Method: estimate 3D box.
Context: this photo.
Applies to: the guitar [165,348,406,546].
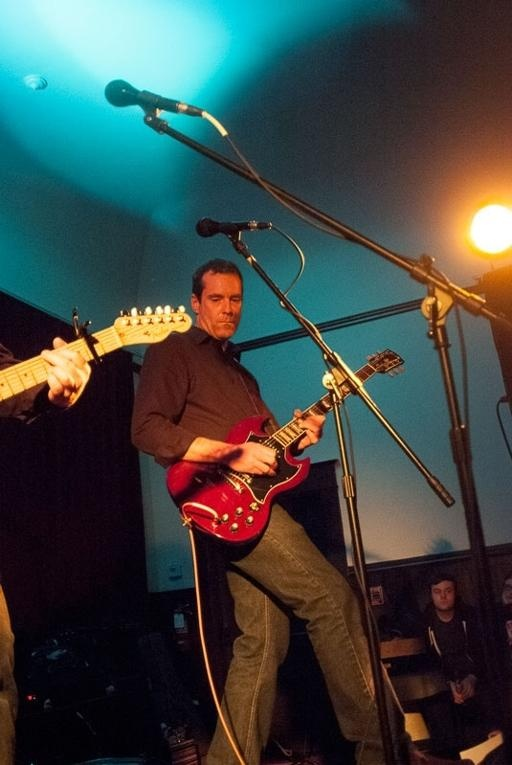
[{"bbox_3d":[0.176,0.264,2.631,1.147,0.414,0.135,-35,-16,-26],"label":"guitar"}]
